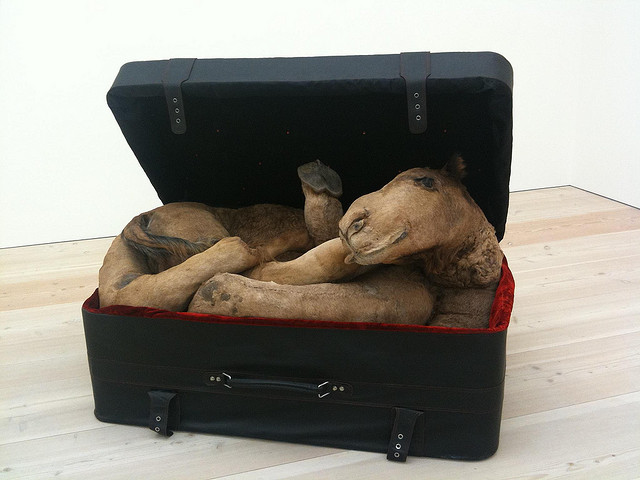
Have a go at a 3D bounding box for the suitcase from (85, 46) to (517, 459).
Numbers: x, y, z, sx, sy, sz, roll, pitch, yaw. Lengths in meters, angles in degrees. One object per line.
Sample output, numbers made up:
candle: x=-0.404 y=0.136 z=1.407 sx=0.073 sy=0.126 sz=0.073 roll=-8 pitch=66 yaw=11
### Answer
suitcase: x=-0.023 y=-0.058 z=2.239 sx=1.412 sy=1.151 sz=1.097 roll=0 pitch=22 yaw=7
